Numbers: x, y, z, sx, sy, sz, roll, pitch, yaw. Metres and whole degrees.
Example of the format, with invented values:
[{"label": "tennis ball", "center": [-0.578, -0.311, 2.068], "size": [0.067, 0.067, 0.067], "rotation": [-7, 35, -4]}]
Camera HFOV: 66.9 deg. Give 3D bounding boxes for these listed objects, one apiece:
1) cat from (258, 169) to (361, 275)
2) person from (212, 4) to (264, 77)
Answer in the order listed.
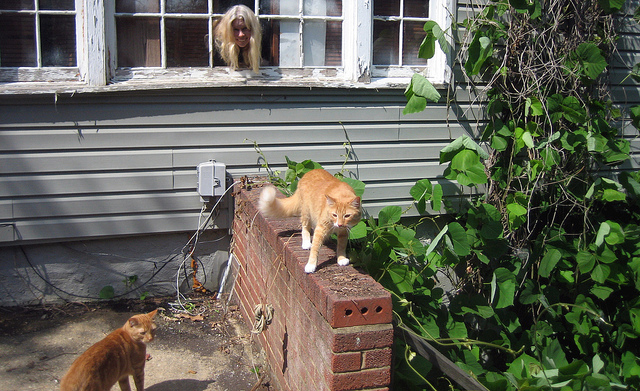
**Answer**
[{"label": "cat", "center": [-0.073, 0.173, 4.442], "size": [0.577, 0.753, 1.428], "rotation": [-6, 14, -31]}, {"label": "person", "center": [-0.972, -1.897, 5.873], "size": [0.745, 1.012, 0.647], "rotation": [-6, 22, -21]}]
